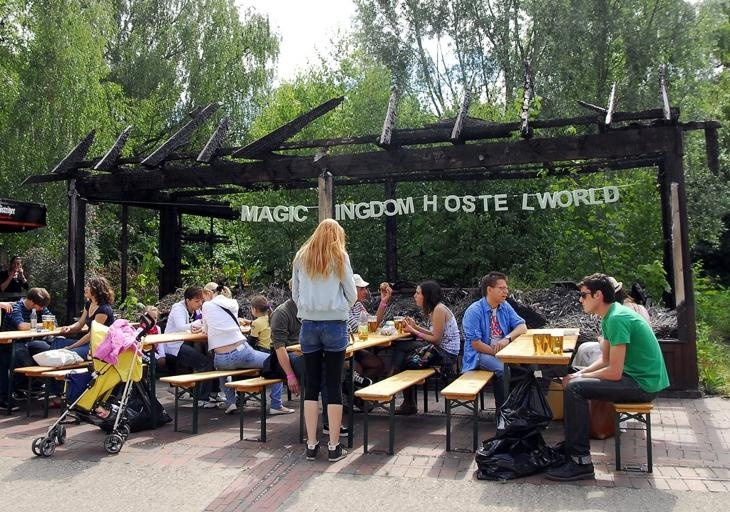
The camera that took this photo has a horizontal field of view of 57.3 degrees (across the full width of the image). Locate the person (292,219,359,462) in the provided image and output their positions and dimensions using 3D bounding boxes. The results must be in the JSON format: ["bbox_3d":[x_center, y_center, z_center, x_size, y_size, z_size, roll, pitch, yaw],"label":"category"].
[{"bbox_3d":[-0.602,1.174,9.296,0.908,2.980,1.171,0,0,-13],"label":"person"}]

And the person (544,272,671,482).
[{"bbox_3d":[3.093,1.524,8.649,1.578,2.461,0.595,-4,8,-20],"label":"person"}]

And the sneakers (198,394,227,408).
[{"bbox_3d":[-2.658,2.527,11.664,0.587,0.277,0.200,-2,-6,0],"label":"sneakers"}]

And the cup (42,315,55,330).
[{"bbox_3d":[-5.536,1.181,11.681,0.230,0.275,0.235,0,0,0],"label":"cup"}]

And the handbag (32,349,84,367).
[{"bbox_3d":[-4.965,1.669,10.793,0.419,0.164,0.387,1,-3,9],"label":"handbag"}]

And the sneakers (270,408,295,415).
[{"bbox_3d":[-1.376,2.585,11.161,0.417,0.172,0.142,0,-5,-6],"label":"sneakers"}]

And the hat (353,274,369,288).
[{"bbox_3d":[-0.092,0.424,10.916,0.297,0.113,0.205,1,3,42],"label":"hat"}]

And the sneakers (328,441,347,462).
[{"bbox_3d":[-0.373,2.639,9.024,0.125,0.158,0.363,0,-3,17],"label":"sneakers"}]

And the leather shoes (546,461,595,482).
[{"bbox_3d":[2.579,2.706,8.422,0.573,0.270,0.251,2,-12,9],"label":"leather shoes"}]

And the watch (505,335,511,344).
[{"bbox_3d":[2.162,1.265,10.003,0.067,0.099,0.101,-13,22,-28],"label":"watch"}]

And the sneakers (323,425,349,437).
[{"bbox_3d":[-0.424,2.577,9.840,0.441,0.196,0.169,-1,-4,23],"label":"sneakers"}]
